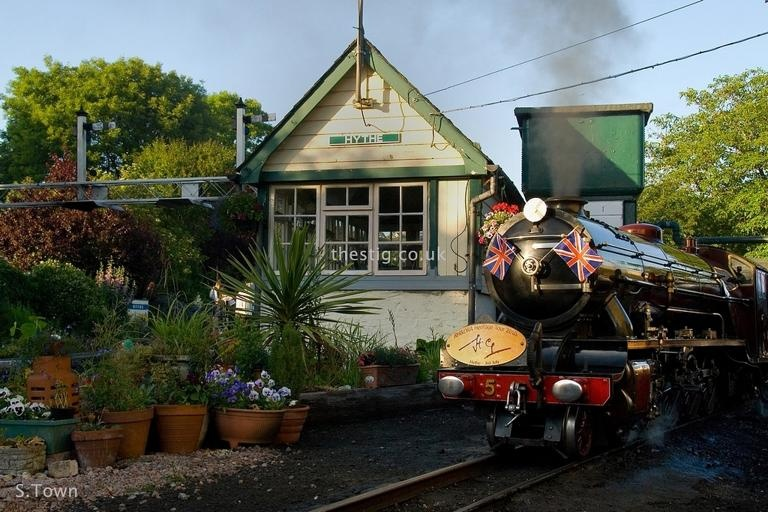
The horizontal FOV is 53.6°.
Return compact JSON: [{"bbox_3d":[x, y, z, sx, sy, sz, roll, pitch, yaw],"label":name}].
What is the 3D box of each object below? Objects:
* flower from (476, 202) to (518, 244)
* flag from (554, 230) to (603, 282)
[{"bbox_3d":[2.375,-0.829,15.319,0.721,0.458,0.762,-19,8,41],"label":"flower"},{"bbox_3d":[2.744,-0.013,10.694,0.685,0.698,0.257,-41,-17,11],"label":"flag"}]
